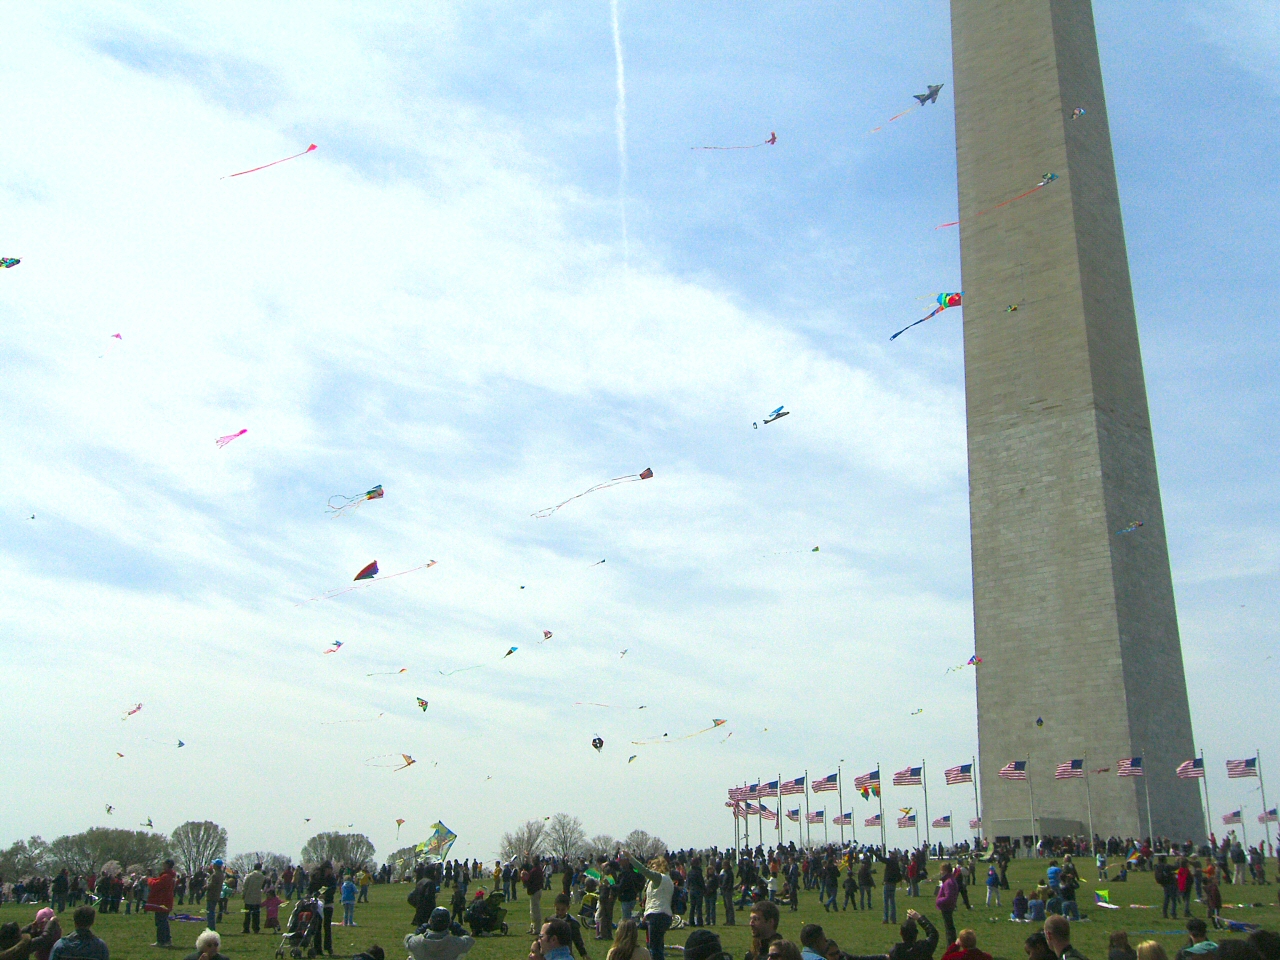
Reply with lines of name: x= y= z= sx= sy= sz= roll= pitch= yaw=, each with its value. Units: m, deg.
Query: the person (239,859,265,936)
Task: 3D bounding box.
person: x=-12.906 y=14.089 z=43.829 sx=0.755 sy=2.289 sz=1.315 roll=10 pitch=-26 yaw=-14
